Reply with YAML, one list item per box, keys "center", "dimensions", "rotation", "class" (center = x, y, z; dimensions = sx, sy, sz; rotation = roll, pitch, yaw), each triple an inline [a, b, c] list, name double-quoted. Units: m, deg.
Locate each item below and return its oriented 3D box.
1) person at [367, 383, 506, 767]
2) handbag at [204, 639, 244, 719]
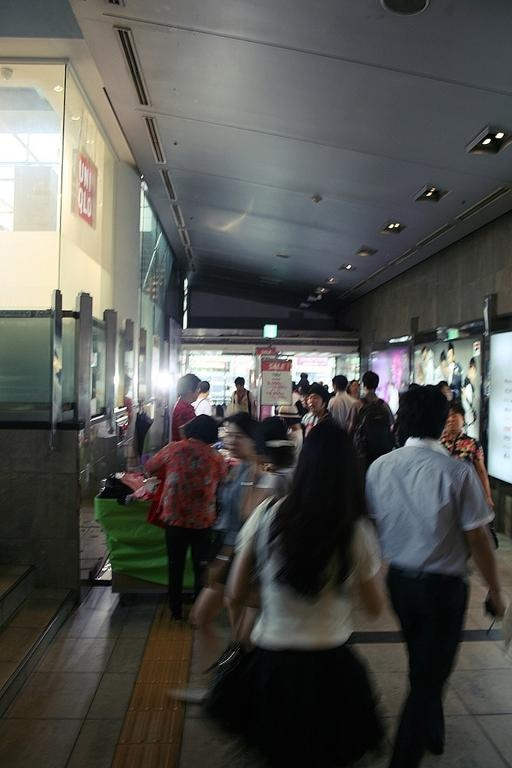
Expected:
- center: [0.627, 0.632, 1.785]
  dimensions: [0.464, 1.267, 0.256]
  rotation: [-1, -5, 13]
  class: "person"
- center: [-0.060, 0.573, 0.994]
  dimensions: [0.043, 0.066, 0.141]
  rotation: [9, 4, 5]
  class: "handbag"
